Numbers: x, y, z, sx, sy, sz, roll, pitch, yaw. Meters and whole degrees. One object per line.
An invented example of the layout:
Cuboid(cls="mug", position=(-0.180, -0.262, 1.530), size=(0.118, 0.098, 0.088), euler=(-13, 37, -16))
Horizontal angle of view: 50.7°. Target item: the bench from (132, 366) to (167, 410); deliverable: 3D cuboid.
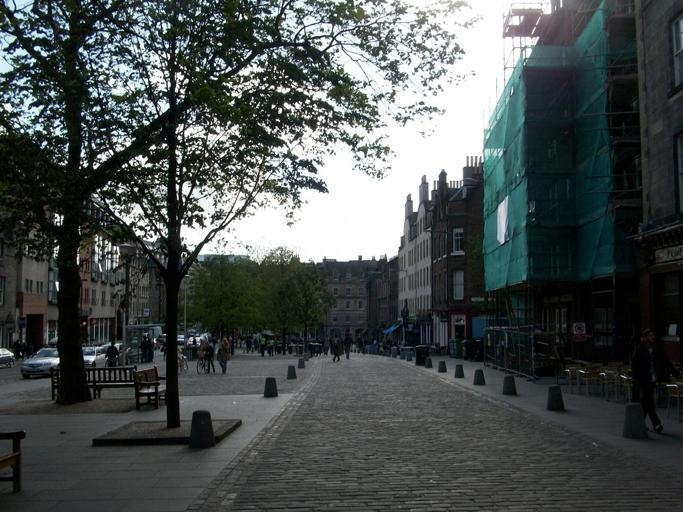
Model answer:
Cuboid(cls="bench", position=(-5.746, 3.952, 21.728), size=(0.836, 1.275, 2.714), euler=(0, -11, -15))

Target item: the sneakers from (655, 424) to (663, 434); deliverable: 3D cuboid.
Cuboid(cls="sneakers", position=(6.942, 3.753, 15.727), size=(0.267, 0.138, 0.094), euler=(-10, -7, -32))

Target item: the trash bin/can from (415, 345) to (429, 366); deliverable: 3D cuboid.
Cuboid(cls="trash bin/can", position=(4.706, 5.643, 40.783), size=(0.895, 1.549, 0.991), euler=(0, 1, -3))

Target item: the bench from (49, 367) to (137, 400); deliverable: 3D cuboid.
Cuboid(cls="bench", position=(-8.021, 4.116, 23.647), size=(2.605, 1.159, 0.773), euler=(1, 6, -13))
